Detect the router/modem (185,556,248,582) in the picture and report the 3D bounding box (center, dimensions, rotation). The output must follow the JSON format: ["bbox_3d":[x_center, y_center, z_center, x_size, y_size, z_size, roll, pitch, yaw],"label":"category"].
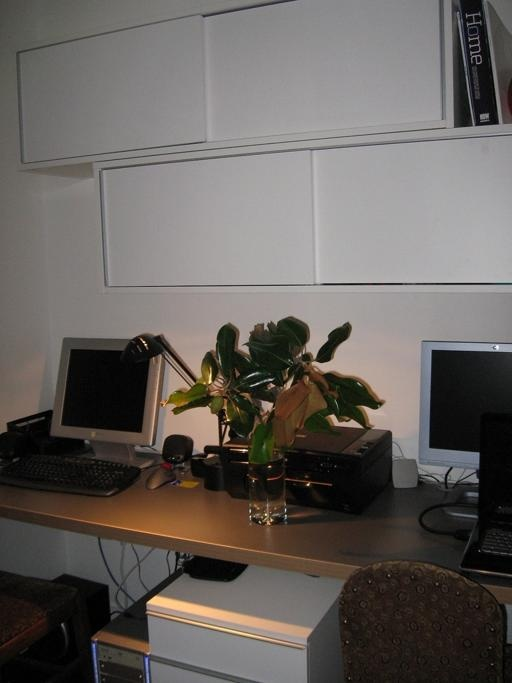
[{"bbox_3d":[-0.111,0.588,1.460,0.085,0.020,0.086,1,0,9],"label":"router/modem"}]

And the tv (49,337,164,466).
[{"bbox_3d":[-0.515,0.206,1.938,0.431,0.441,0.231,2,2,21],"label":"tv"}]

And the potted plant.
[{"bbox_3d":[0.069,0.107,1.472,0.585,0.560,0.521,0,-2,44],"label":"potted plant"}]

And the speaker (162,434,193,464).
[{"bbox_3d":[-0.262,0.356,1.864,0.099,0.098,0.051,2,-28,15],"label":"speaker"}]

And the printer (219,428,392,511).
[{"bbox_3d":[0.231,0.309,1.581,0.366,0.163,0.293,-2,1,29],"label":"printer"}]

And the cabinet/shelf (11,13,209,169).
[{"bbox_3d":[-0.441,-0.737,1.690,0.697,0.331,0.352,2,10,20],"label":"cabinet/shelf"}]
